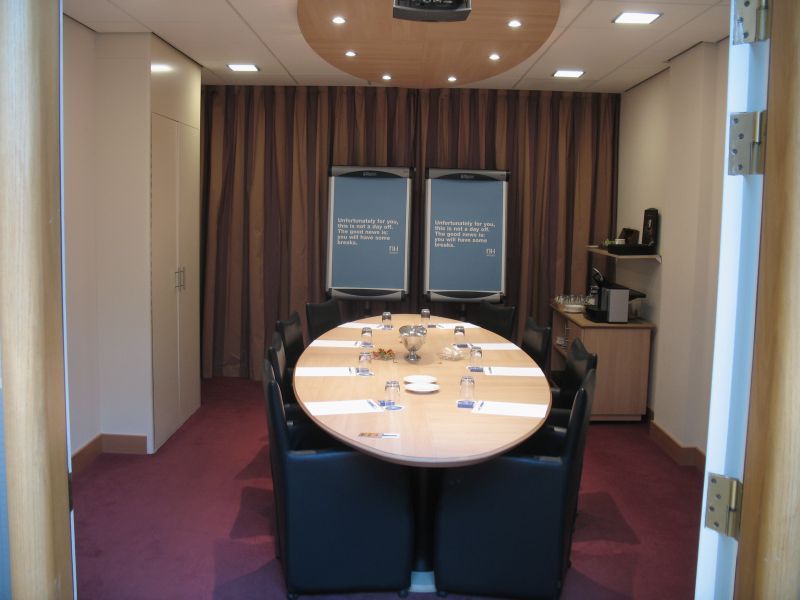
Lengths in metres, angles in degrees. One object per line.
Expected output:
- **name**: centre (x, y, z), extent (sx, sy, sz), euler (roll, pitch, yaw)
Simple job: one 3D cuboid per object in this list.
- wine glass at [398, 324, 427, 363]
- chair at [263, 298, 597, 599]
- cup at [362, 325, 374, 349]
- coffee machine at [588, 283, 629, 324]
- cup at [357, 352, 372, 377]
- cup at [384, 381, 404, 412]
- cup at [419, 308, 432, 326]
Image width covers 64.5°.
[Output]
- **wine glass**: centre (0.074, 0.260, 3.946), extent (0.177, 0.195, 0.184), euler (0, -1, -1)
- **chair**: centre (0.159, 0.623, 3.523), extent (1.013, 0.686, 1.538), euler (2, 16, 0)
- **cup**: centre (-0.221, 0.257, 4.296), extent (0.098, 0.122, 0.105), euler (1, 8, 0)
- **coffee machine**: centre (1.701, 0.025, 5.229), extent (0.168, 0.226, 0.349), euler (5, -1, -15)
- **cup**: centre (-0.204, 0.355, 3.616), extent (0.094, 0.166, 0.104), euler (0, 7, -2)
- **cup**: centre (-0.036, 0.452, 3.123), extent (0.104, 0.194, 0.122), euler (-2, 7, -9)
- **cup**: centre (0.197, 0.118, 4.988), extent (0.095, 0.199, 0.102), euler (1, 11, 0)
